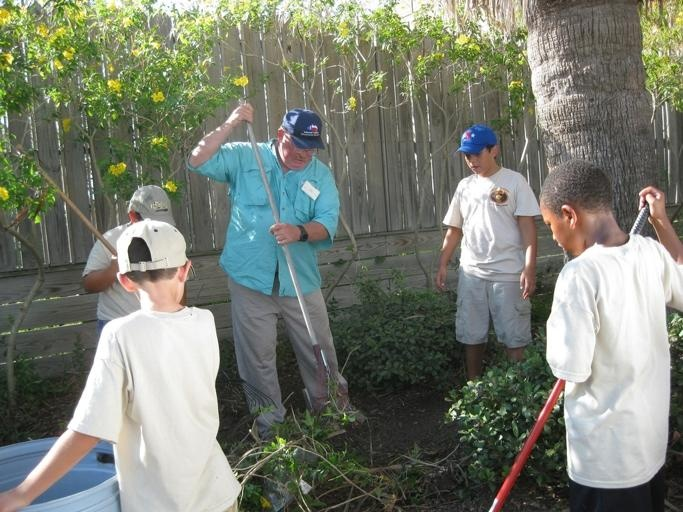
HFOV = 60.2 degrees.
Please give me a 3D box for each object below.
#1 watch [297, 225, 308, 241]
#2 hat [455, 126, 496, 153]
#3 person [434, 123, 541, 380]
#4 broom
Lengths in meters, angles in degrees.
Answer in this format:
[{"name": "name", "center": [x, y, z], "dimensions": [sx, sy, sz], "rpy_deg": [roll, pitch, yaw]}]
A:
[{"name": "watch", "center": [-0.294, -0.163, 4.457], "dimensions": [0.075, 0.114, 0.118], "rpy_deg": [2, 22, -14]}, {"name": "hat", "center": [1.185, -0.979, 5.016], "dimensions": [0.302, 0.174, 0.199], "rpy_deg": [-17, 16, -42]}, {"name": "person", "center": [1.291, -0.009, 5.040], "dimensions": [0.777, 2.180, 0.491], "rpy_deg": [-1, 6, 24]}, {"name": "broom", "center": [-0.250, 0.127, 4.472], "dimensions": [0.784, 2.436, 0.747], "rpy_deg": [-4, 5, -10]}]
